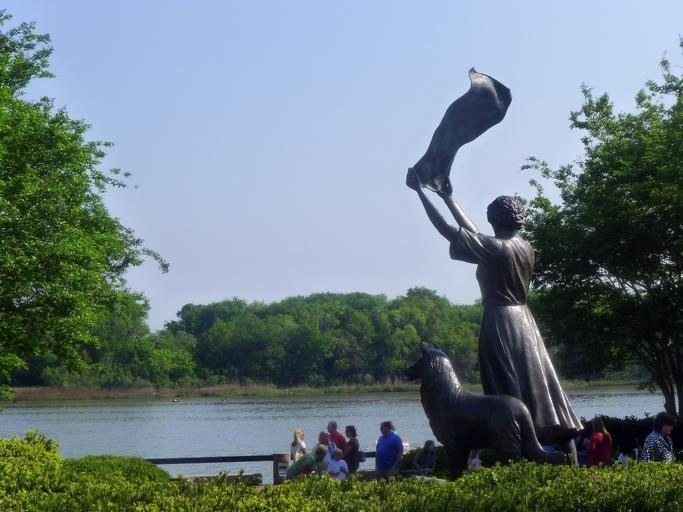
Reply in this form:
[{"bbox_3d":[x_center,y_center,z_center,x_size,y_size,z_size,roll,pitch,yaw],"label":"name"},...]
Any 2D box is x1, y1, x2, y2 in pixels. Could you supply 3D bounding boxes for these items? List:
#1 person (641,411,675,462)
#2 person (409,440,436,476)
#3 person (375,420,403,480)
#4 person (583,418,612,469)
[{"bbox_3d":[9.042,5.029,31.233,0.929,1.361,0.645,-6,-14,15],"label":"person"},{"bbox_3d":[2.732,6.594,35.832,0.728,1.592,0.778,8,10,-6],"label":"person"},{"bbox_3d":[1.452,5.746,33.636,0.838,1.756,1.168,-2,-14,1],"label":"person"},{"bbox_3d":[7.637,5.399,32.536,0.714,1.396,1.961,-5,-15,11],"label":"person"}]
